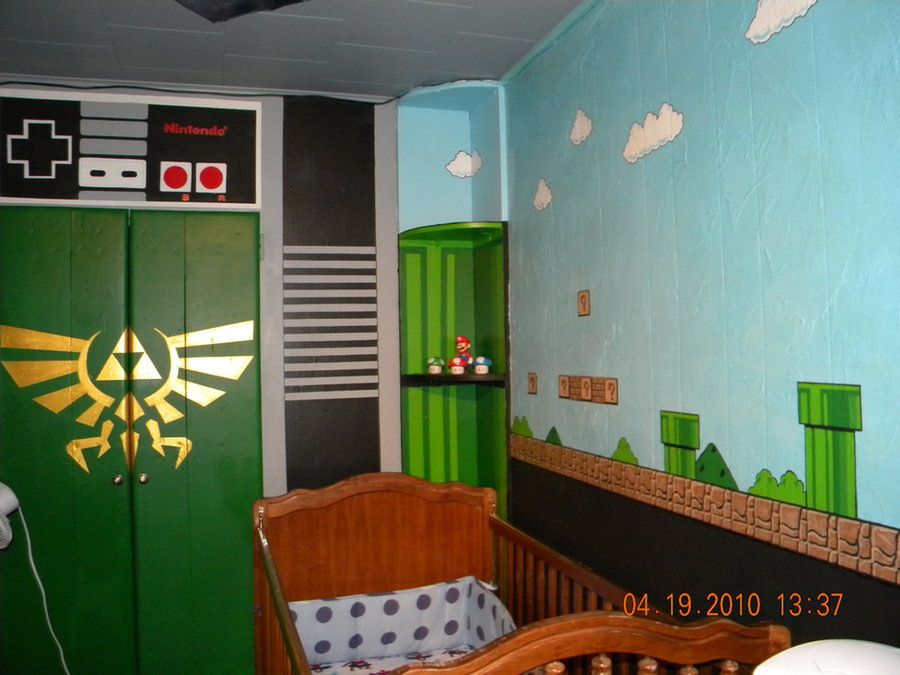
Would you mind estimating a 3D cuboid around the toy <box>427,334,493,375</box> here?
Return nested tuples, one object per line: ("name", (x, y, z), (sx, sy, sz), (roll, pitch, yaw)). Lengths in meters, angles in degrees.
("toy", (0.063, 0.066, 3.511), (0.323, 0.170, 0.264), (0, 4, 26))
